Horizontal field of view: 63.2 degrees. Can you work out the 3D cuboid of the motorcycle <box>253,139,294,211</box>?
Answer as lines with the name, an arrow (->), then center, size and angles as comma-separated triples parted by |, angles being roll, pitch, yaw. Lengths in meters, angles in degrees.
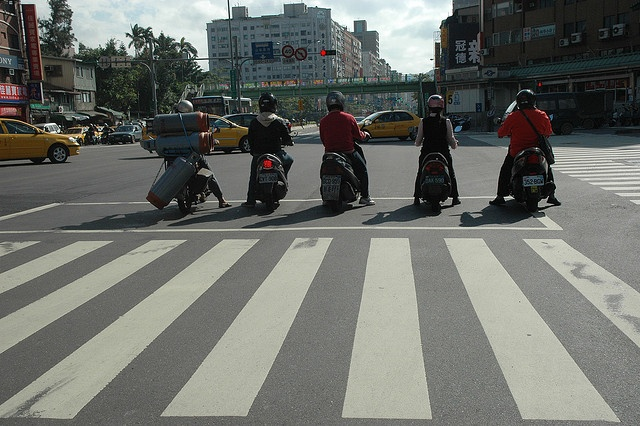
motorcycle -> -0.998, -0.641, 10.553 | 0.648, 1.152, 0.756 | -3, 12, -8

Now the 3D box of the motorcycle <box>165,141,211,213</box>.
motorcycle -> -2.538, -0.620, 10.425 | 0.729, 0.941, 1.457 | -8, 28, 13

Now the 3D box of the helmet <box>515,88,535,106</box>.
helmet -> 3.958, -2.232, 10.054 | 0.285, 0.341, 0.363 | 2, 24, 26

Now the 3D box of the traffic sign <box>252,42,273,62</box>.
traffic sign -> -6.473, -18.145, 58.221 | 2.828, 2.793, 0.414 | -1, -22, -2

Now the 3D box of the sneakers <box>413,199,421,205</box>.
sneakers -> 1.981, -0.242, 10.639 | 0.133, 0.135, 0.094 | -3, 3, -14

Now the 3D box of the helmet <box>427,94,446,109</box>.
helmet -> 2.268, -2.211, 10.204 | 0.266, 0.350, 0.353 | 7, 35, 8

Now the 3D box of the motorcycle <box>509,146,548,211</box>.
motorcycle -> 3.915, -0.632, 9.665 | 0.705, 1.160, 0.557 | 3, 13, 21

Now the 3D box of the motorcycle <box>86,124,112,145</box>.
motorcycle -> -22.137, -7.889, 51.869 | 2.605, 1.727, 1.813 | 1, 7, 30

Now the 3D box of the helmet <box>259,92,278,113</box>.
helmet -> -1.123, -2.338, 10.953 | 0.336, 0.393, 0.420 | 4, 20, 5

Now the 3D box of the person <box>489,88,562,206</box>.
person -> 3.999, -1.304, 10.340 | 1.322, 2.418, 1.154 | 1, 23, 22

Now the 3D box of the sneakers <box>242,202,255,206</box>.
sneakers -> -1.522, -0.202, 10.984 | 0.263, 0.112, 0.099 | 6, 7, 17

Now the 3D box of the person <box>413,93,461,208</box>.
person -> 2.420, -1.672, 10.772 | 1.067, 1.344, 2.025 | 1, 14, 7

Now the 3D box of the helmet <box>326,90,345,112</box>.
helmet -> 0.304, -2.308, 10.602 | 0.320, 0.418, 0.425 | 1, 26, 8

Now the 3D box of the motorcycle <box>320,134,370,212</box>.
motorcycle -> 0.322, -0.614, 10.092 | 0.650, 1.064, 1.541 | -2, 9, 15

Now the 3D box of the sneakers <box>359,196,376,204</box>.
sneakers -> 0.958, -0.293, 10.890 | 0.362, 0.173, 0.127 | -2, 35, -10

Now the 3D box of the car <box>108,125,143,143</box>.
car -> -19.411, -7.796, 51.500 | 2.445, 1.597, 4.361 | -2, 13, -4

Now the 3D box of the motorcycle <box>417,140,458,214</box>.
motorcycle -> 2.204, -0.596, 9.963 | 0.574, 1.105, 0.589 | 1, 12, 12
